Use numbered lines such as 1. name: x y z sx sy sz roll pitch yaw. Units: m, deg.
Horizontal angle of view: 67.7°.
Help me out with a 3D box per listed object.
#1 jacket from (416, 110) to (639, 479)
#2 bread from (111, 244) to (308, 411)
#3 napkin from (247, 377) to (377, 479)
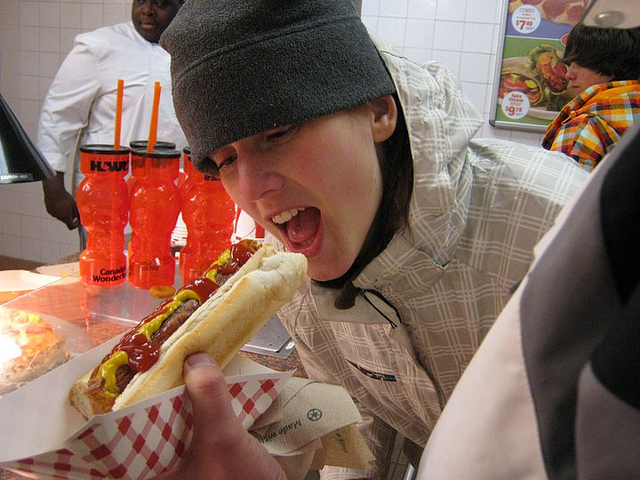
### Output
1. jacket: 0.154 0.056 0.424 0.089 0.274 0.220 32 1 10
2. bread: -0.229 0.167 1.007 0.443 0.234 0.200 -20 31 -38
3. napkin: -0.009 0.392 0.974 0.207 0.083 0.232 31 73 13
